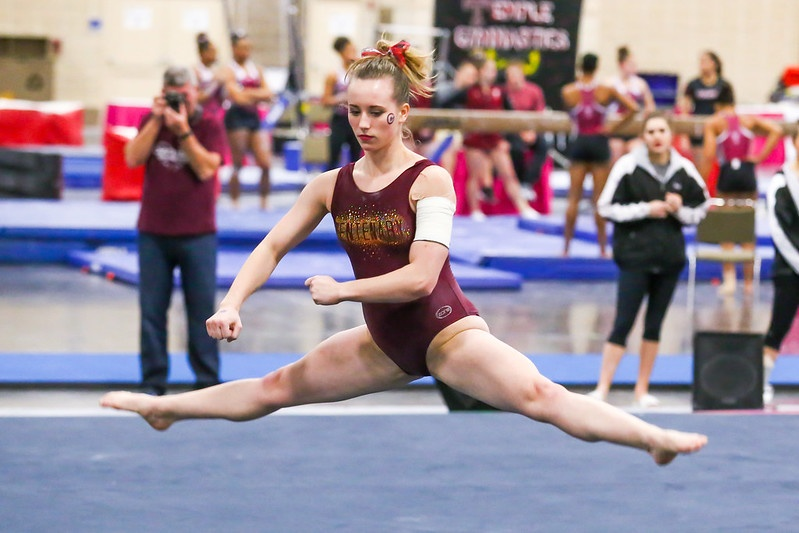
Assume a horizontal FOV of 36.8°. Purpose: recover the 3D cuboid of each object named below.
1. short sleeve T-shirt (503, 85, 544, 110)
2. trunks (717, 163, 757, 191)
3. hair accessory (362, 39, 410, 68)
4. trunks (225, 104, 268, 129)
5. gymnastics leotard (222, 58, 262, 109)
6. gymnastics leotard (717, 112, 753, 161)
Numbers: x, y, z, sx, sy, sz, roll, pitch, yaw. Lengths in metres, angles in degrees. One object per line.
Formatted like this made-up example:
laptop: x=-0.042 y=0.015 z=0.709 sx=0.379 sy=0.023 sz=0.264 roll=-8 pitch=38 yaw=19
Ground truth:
short sleeve T-shirt: x=1.561 y=-2.179 z=15.389 sx=0.482 sy=0.260 sz=0.462 roll=4 pitch=-29 yaw=34
trunks: x=3.239 y=-0.872 z=11.584 sx=0.445 sy=0.371 sz=0.249 roll=0 pitch=6 yaw=5
hair accessory: x=-0.056 y=-1.176 z=6.536 sx=0.181 sy=0.064 sz=0.180 roll=3 pitch=22 yaw=21
trunks: x=-1.805 y=-1.680 z=13.620 sx=0.554 sy=0.275 sz=0.380 roll=0 pitch=-1 yaw=-12
gymnastics leotard: x=-1.122 y=-1.363 z=8.482 sx=0.206 sy=0.202 sz=0.080 roll=5 pitch=25 yaw=32
gymnastics leotard: x=3.158 y=-1.239 z=11.264 sx=0.404 sy=0.488 sz=0.271 roll=-3 pitch=14 yaw=-3
